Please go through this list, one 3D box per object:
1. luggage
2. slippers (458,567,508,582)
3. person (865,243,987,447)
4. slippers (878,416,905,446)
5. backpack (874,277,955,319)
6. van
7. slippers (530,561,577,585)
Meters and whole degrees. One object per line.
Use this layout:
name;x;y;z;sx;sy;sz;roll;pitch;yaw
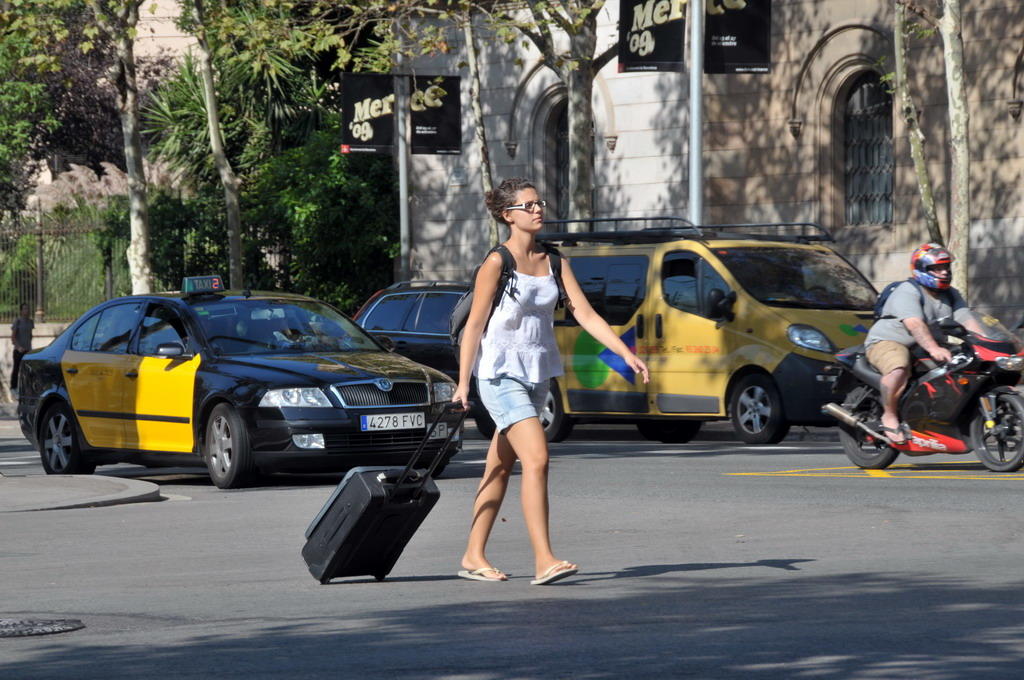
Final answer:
luggage;-1.106;1.119;11.674;1.881;1.521;0.913;-1;0;-20
slippers;-0.199;1.663;11.195;0.306;0.090;0.126;0;1;23
person;4.418;-0.007;16.350;1.113;1.998;1.336;-1;13;-11
slippers;3.993;0.932;16.308;0.323;0.140;0.120;48;24;22
backpack;4.185;-0.492;16.570;0.436;0.586;0.501;3;15;-23
van;2.907;-0.173;20.594;4.280;2.445;2.570;-6;-6;44
slippers;0.307;1.619;10.900;0.127;0.098;0.318;10;-24;-40
